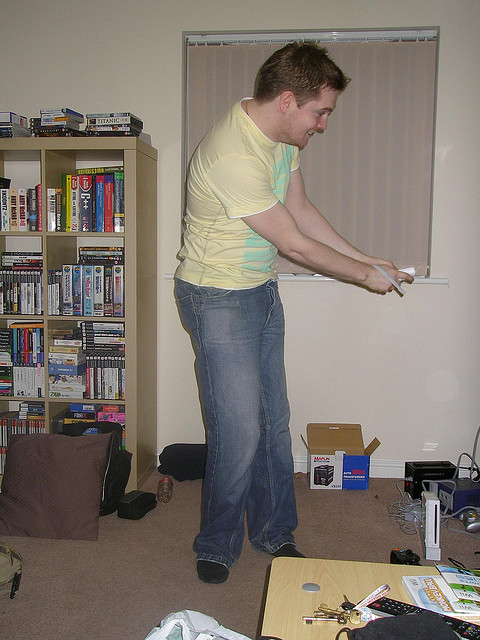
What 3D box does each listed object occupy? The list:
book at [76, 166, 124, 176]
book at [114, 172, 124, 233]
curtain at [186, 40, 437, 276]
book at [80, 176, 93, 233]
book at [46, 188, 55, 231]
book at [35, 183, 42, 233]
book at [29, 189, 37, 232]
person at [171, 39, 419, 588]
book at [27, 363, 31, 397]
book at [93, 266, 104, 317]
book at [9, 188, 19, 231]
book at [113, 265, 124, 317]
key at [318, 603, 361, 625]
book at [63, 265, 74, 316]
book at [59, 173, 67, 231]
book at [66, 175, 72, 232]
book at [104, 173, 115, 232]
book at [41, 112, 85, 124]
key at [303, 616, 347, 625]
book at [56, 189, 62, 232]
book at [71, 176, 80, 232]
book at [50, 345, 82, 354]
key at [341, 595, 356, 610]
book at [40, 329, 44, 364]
[{"bbox_3d":[-0.599,-0.638,2.469,0.234,0.038,0.044,2,4,15],"label":"book"},{"bbox_3d":[-0.517,-0.502,2.442,0.038,0.243,0.019,0,3,-1],"label":"book"},{"bbox_3d":[0.335,-0.870,2.631,1.133,1.205,0.047,0,-23,4],"label":"curtain"},{"bbox_3d":[-0.661,-0.503,2.474,0.052,0.227,0.031,-1,3,-19],"label":"book"},{"bbox_3d":[-0.809,-0.472,2.454,0.034,0.174,0.030,-1,3,-18],"label":"book"},{"bbox_3d":[-0.865,-0.480,2.475,0.020,0.206,0.089,-1,4,-23],"label":"book"},{"bbox_3d":[-0.899,-0.479,2.502,0.034,0.175,0.021,0,3,-13],"label":"book"},{"bbox_3d":[0.098,0.026,1.759,0.528,1.544,0.573,-2,4,-38],"label":"person"},{"bbox_3d":[-0.938,0.262,2.556,0.013,0.142,0.025,-1,4,-24],"label":"book"},{"bbox_3d":[-0.611,-0.126,2.478,0.053,0.212,0.016,2,3,19],"label":"book"},{"bbox_3d":[-0.996,-0.486,2.538,0.044,0.177,0.019,1,3,12],"label":"book"},{"bbox_3d":[-0.522,-0.124,2.462,0.045,0.218,0.018,0,3,-1],"label":"book"},{"bbox_3d":[0.186,0.521,1.025,0.053,0.006,0.028,13,32,13],"label":"key"},{"bbox_3d":[-0.746,-0.132,2.497,0.048,0.213,0.026,0,3,-7],"label":"book"},{"bbox_3d":[-0.770,-0.510,2.492,0.030,0.239,0.067,-2,4,-32],"label":"book"},{"bbox_3d":[-0.736,-0.504,2.474,0.034,0.231,0.013,2,4,22],"label":"book"},{"bbox_3d":[-0.557,-0.503,2.454,0.052,0.242,0.013,2,3,20],"label":"book"},{"bbox_3d":[-0.750,-0.866,2.447,0.173,0.031,0.085,-2,5,-27],"label":"book"},{"bbox_3d":[0.147,0.529,1.019,0.063,0.010,0.025,-1,9,4],"label":"key"},{"bbox_3d":[-0.778,-0.474,2.474,0.024,0.170,0.037,-1,4,-21],"label":"book"},{"bbox_3d":[-0.709,-0.503,2.473,0.035,0.229,0.019,0,3,-12],"label":"book"},{"bbox_3d":[-0.764,0.124,2.525,0.132,0.033,0.042,1,4,8],"label":"book"},{"bbox_3d":[0.202,0.521,1.066,0.010,0.019,0.019,-33,10,2],"label":"key"},{"bbox_3d":[-0.875,0.118,2.547,0.012,0.152,0.044,-2,4,-35],"label":"book"}]
